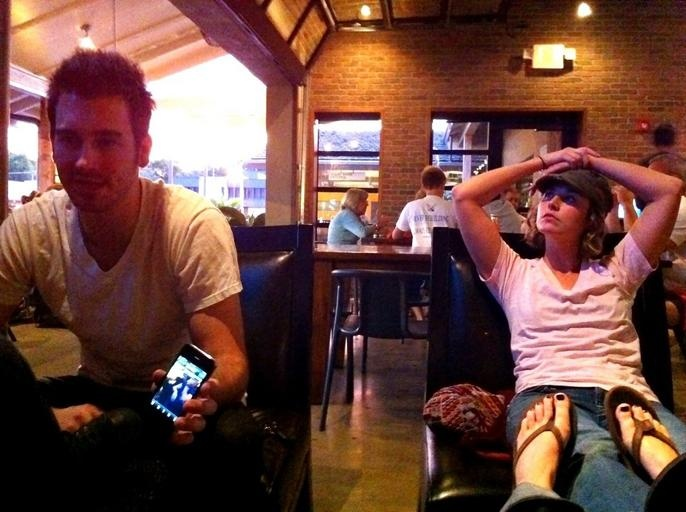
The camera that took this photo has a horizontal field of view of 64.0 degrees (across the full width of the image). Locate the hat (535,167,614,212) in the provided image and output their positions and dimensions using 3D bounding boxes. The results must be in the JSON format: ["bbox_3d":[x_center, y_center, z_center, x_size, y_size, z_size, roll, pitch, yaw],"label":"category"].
[{"bbox_3d":[0.848,-0.230,1.999,0.236,0.086,0.164,21,7,-26],"label":"hat"}]

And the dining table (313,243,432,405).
[{"bbox_3d":[0.071,0.338,3.278,0.886,0.836,0.877,0,0,-1],"label":"dining table"}]

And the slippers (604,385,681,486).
[{"bbox_3d":[0.795,0.482,1.470,0.107,0.055,0.300,-23,32,18],"label":"slippers"}]

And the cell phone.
[{"bbox_3d":[-0.375,0.303,1.289,0.115,0.196,0.021,29,-12,21],"label":"cell phone"}]
